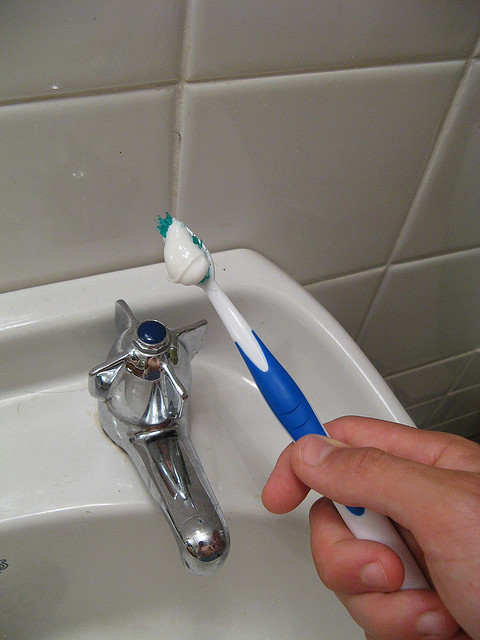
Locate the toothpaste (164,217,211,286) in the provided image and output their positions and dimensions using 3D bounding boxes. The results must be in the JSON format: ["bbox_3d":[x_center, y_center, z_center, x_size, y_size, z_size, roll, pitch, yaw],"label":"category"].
[{"bbox_3d":[-0.027,-0.033,0.310,0.028,0.024,0.050,6,-15,-2],"label":"toothpaste"}]

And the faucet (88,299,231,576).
[{"bbox_3d":[-0.047,0.049,0.352,0.079,0.152,0.086,-12,-33,-20],"label":"faucet"}]

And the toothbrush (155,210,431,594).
[{"bbox_3d":[0.026,0.049,0.371,0.032,0.301,0.033,-35,-4,13],"label":"toothbrush"}]
